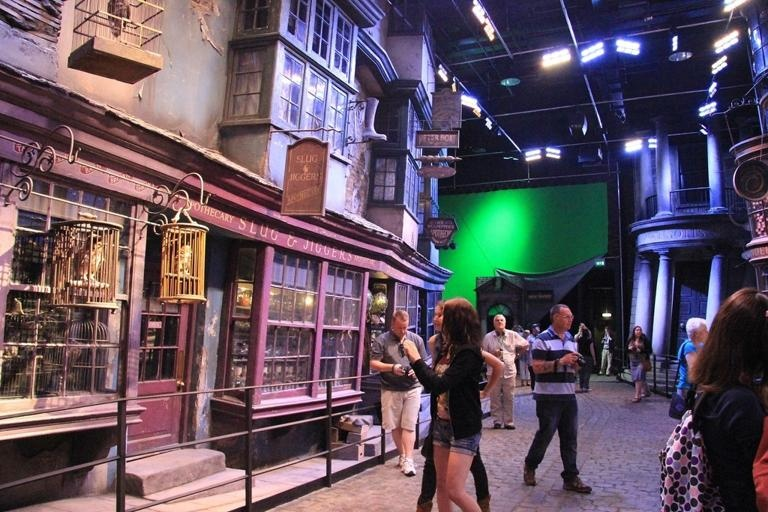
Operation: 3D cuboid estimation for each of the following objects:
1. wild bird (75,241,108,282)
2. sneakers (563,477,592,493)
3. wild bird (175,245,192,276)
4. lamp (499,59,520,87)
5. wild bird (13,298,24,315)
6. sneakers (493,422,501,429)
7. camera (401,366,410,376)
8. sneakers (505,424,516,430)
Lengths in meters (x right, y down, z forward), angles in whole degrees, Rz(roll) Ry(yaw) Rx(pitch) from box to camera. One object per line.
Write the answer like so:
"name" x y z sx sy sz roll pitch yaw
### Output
"wild bird" -3.484 0.055 6.952 0.266 0.488 0.149 6 -11 -33
"sneakers" 2.908 3.446 8.809 0.457 0.216 0.178 0 -4 18
"wild bird" -2.616 0.047 7.706 0.171 0.407 0.074 4 -10 -23
"lamp" 5.329 -7.601 24.653 0.795 1.108 1.620 -2 -10 13
"wild bird" -4.581 0.623 7.347 0.120 0.207 0.044 7 -11 -34
"sneakers" 2.535 3.782 13.043 0.136 0.106 0.141 2 -6 -5
"camera" 0.353 1.853 9.427 0.148 0.151 0.197 0 -16 0
"sneakers" 2.804 3.814 13.032 0.090 0.096 0.227 3 -20 -8
